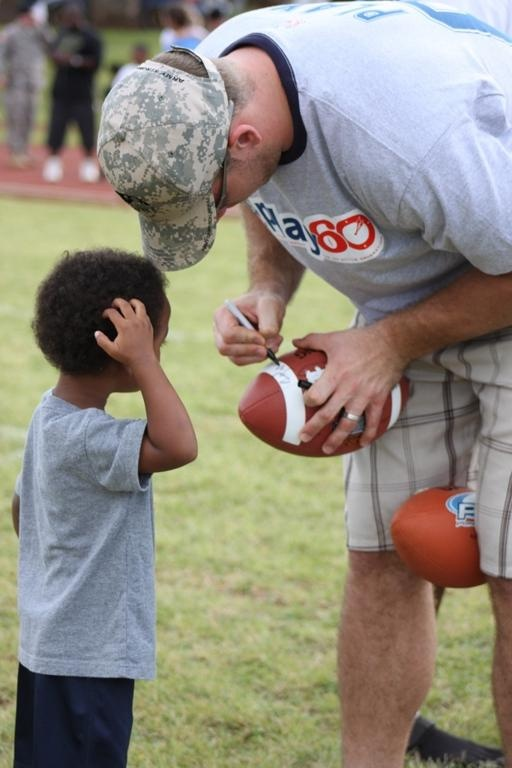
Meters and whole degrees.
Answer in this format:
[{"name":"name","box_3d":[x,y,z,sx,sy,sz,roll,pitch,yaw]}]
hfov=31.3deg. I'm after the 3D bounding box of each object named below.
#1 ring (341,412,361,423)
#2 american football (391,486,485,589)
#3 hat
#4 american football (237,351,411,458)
[{"name":"ring","box_3d":[0.213,0.073,2.006,0.033,0.018,0.033,19,11,-4]},{"name":"american football","box_3d":[0.410,0.336,2.025,0.231,0.143,0.213,4,71,10]},{"name":"hat","box_3d":[-0.160,-0.422,1.748,0.277,0.374,0.236,13,24,34]},{"name":"american football","box_3d":[0.156,0.029,2.127,0.372,0.184,0.226,-6,18,-24]}]
